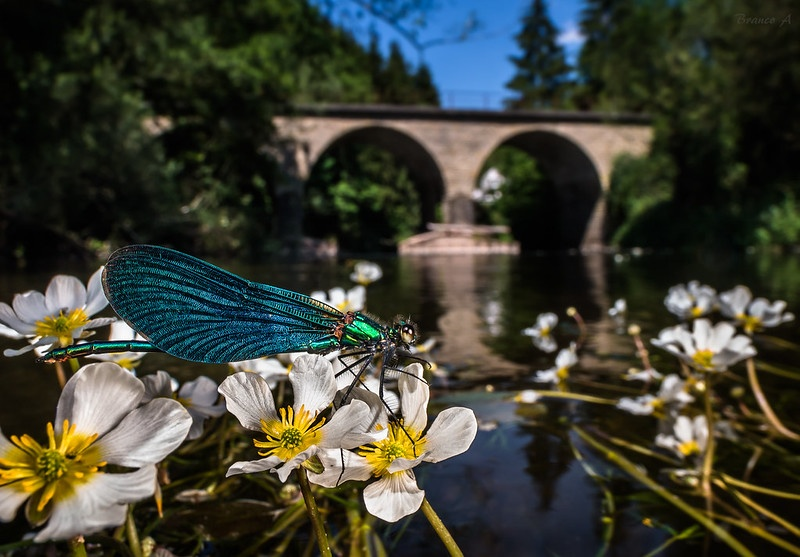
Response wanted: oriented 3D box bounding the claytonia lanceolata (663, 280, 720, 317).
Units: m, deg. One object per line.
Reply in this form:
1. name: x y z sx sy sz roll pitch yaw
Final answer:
1. claytonia lanceolata: 0.878 0.072 2.419 0.128 0.114 0.049 -23 -32 4

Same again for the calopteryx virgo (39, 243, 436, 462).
1. calopteryx virgo: -0.436 0.131 2.120 0.820 0.448 0.349 -2 5 -30

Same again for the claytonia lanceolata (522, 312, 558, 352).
1. claytonia lanceolata: 0.441 0.174 2.508 0.120 0.115 0.035 -30 -33 -11

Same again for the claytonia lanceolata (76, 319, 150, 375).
1. claytonia lanceolata: -0.777 0.188 2.185 0.151 0.178 0.136 -1 11 -9

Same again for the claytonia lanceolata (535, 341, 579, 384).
1. claytonia lanceolata: 0.481 0.261 2.430 0.149 0.090 0.060 -36 -54 19

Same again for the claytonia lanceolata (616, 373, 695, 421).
1. claytonia lanceolata: 0.703 0.329 2.229 0.187 0.155 0.254 1 5 20

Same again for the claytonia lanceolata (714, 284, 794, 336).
1. claytonia lanceolata: 1.062 0.092 2.430 0.229 0.165 0.168 4 13 -9

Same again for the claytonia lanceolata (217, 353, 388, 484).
1. claytonia lanceolata: -0.237 0.255 1.904 0.373 0.343 0.274 1 2 -8
